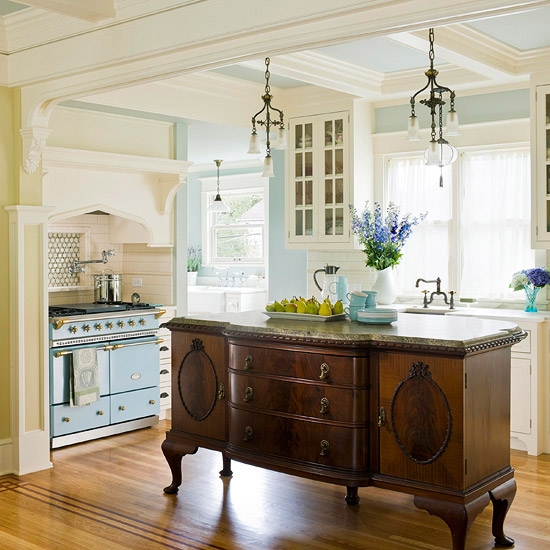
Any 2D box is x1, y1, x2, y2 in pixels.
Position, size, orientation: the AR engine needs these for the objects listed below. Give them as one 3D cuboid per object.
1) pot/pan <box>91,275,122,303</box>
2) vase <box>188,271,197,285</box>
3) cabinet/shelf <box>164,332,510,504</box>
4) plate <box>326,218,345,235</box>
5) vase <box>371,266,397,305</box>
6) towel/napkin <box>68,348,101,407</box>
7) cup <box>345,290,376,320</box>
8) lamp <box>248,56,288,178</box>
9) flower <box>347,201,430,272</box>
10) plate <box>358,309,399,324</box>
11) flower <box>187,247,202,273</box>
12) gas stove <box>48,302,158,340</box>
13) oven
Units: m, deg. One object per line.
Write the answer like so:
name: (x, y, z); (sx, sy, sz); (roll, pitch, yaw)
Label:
pot/pan: (-1.694, 0.138, 5.438); (0.234, 0.315, 0.261); (-1, 0, 14)
vase: (-1.595, 0.066, 10.370); (0.087, 0.270, 0.339); (-1, -2, 24)
cabinet/shelf: (0.256, 0.684, 2.800); (1.754, 0.850, 0.484); (-2, -2, 33)
plate: (0.592, -0.476, 5.127); (0.126, 0.076, 0.210); (0, -2, 0)
vase: (1.044, 0.084, 5.023); (0.186, 0.351, 0.291); (2, 8, 37)
towel/napkin: (-1.531, 0.817, 4.304); (0.052, 0.436, 0.229); (-1, -2, 34)
cup: (0.509, 0.177, 3.169); (0.105, 0.208, 0.192); (2, -5, -3)
lamp: (-0.046, -1.152, 3.846); (0.300, 0.801, 0.282); (-21, 28, -40)
flower: (1.031, -0.335, 5.014); (0.511, 0.590, 0.512); (7, 4, 38)
plate: (0.575, 0.234, 2.985); (0.215, 0.089, 0.242); (-1, -2, 11)
flower: (-1.569, -0.314, 10.512); (0.252, 0.529, 0.275); (0, -2, -10)
gas stove: (-1.502, 0.405, 4.641); (0.343, 0.269, 1.079); (-2, -3, 38)
oven: (-1.528, 0.959, 4.717); (0.966, 0.772, 0.509); (-1, -1, -41)
